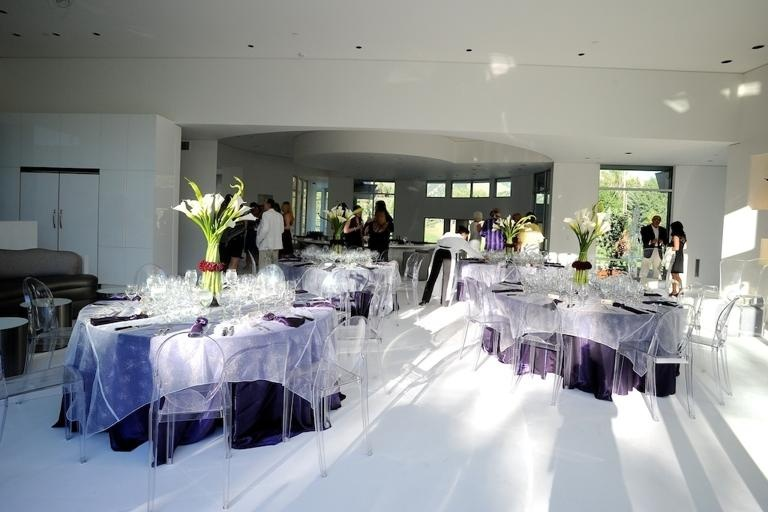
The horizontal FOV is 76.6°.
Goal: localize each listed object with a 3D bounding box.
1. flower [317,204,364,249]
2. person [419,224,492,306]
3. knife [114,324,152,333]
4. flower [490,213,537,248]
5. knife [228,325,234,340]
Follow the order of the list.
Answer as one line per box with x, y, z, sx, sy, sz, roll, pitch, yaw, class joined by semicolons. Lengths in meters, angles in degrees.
-0.808;-0.546;9.393;0.858;1.020;0.771;1;4;30;flower
1.570;0.237;10.076;1.083;1.765;0.965;6;-7;30;person
-2.538;0.727;4.853;0.183;0.050;0.043;-5;10;-23;knife
2.816;-0.528;10.318;1.016;0.973;1.090;0;-1;2;flower
-1.527;0.748;4.828;0.070;0.068;0.170;0;4;-15;knife
